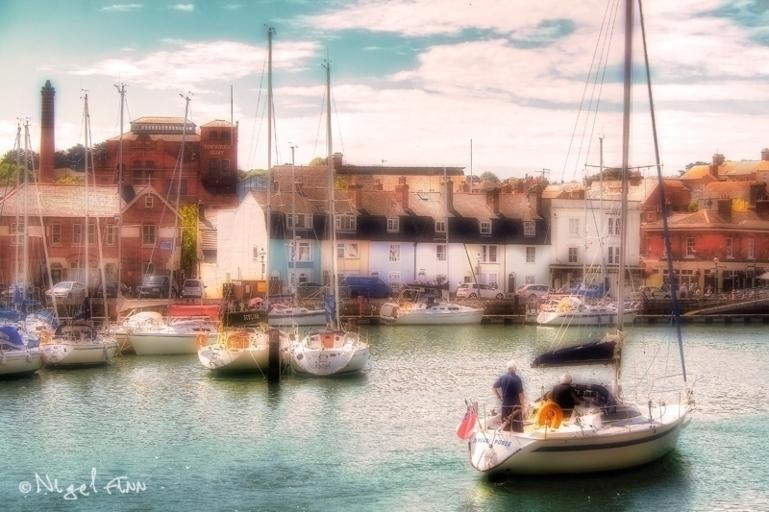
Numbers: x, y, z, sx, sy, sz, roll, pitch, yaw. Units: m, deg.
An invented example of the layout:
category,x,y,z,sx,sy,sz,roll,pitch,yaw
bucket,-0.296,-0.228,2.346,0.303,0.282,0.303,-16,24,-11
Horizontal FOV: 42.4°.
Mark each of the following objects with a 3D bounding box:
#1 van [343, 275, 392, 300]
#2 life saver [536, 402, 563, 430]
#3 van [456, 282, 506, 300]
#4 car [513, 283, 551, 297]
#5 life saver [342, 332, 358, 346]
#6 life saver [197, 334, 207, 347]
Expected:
category,x,y,z,sx,sy,sz,roll,pitch,yaw
van,-1.745,3.018,97.224,4.061,1.642,2.216,-1,5,-9
life saver,7.676,7.374,46.115,1.201,1.250,0.286,-2,3,-6
van,9.334,3.418,97.625,3.661,1.138,1.864,-1,2,-15
car,14.824,3.371,98.989,3.621,1.045,1.491,-2,3,-13
life saver,-2.229,5.531,65.515,0.996,0.603,1.677,0,-3,1
life saver,-12.156,5.540,66.052,0.642,0.855,1.032,-2,3,-14
